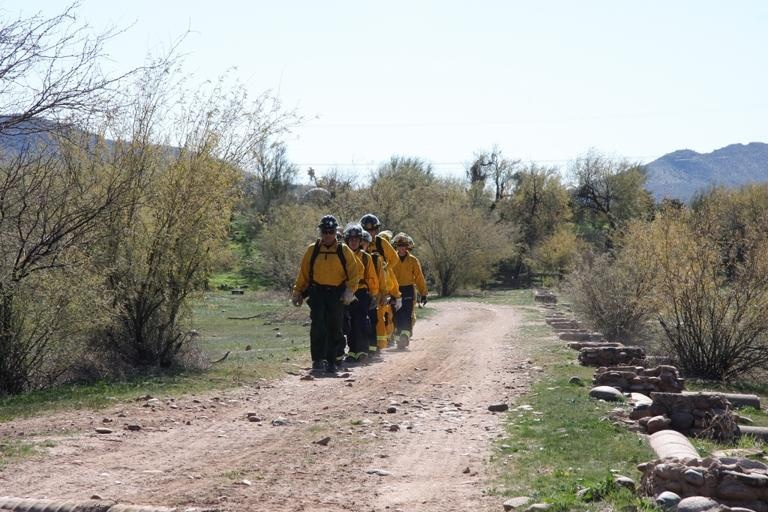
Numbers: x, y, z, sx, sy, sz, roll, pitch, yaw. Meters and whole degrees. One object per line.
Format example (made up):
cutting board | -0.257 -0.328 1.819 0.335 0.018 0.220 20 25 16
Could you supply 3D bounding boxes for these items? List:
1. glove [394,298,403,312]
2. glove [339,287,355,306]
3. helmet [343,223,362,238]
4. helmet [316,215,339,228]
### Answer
glove | 0.438 1.325 22.101 0.093 0.335 0.230 0 13 -30
glove | -0.873 0.913 18.870 0.303 0.371 0.327 0 -6 -3
helmet | -0.794 -0.619 20.389 0.406 0.336 0.384 -14 -37 0
helmet | -1.332 -0.798 18.973 0.291 0.408 0.356 2 -3 4
